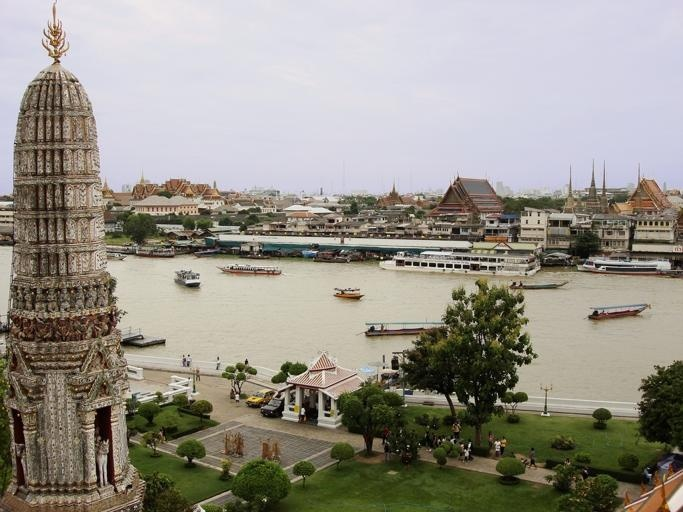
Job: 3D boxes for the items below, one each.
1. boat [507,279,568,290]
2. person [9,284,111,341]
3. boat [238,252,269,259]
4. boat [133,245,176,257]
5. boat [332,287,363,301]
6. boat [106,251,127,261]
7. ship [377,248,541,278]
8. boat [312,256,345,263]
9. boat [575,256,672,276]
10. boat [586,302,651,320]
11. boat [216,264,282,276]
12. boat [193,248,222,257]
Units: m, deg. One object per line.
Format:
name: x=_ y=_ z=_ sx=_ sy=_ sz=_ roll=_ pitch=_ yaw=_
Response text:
boat: x=10.973 y=1.667 z=47.779 sx=3.116 sy=0.445 sz=3.727 roll=2 pitch=0 yaw=12
person: x=-4.167 y=0.949 z=13.009 sx=1.523 sy=0.651 sz=0.397 roll=2 pitch=1 yaw=-14
boat: x=-6.799 y=0.091 z=67.872 sx=2.291 sy=0.357 sz=1.904 roll=2 pitch=0 yaw=-7
boat: x=-14.920 y=-0.239 z=68.801 sx=2.734 sy=0.592 sz=1.372 roll=3 pitch=8 yaw=14
boat: x=0.196 y=1.947 z=42.908 sx=1.787 sy=0.421 sz=0.525 roll=2 pitch=7 yaw=32
boat: x=-16.562 y=0.069 z=63.579 sx=2.157 sy=0.568 sz=0.579 roll=4 pitch=19 yaw=13
ship: x=8.028 y=0.573 z=56.509 sx=6.785 sy=0.828 sz=1.499 roll=5 pitch=8 yaw=30
boat: x=-0.777 y=0.362 z=63.830 sx=1.532 sy=0.263 sz=0.844 roll=1 pitch=4 yaw=22
boat: x=18.085 y=0.735 z=54.874 sx=5.894 sy=1.219 sz=1.096 roll=2 pitch=4 yaw=8
boat: x=11.812 y=2.425 z=36.975 sx=3.832 sy=0.697 sz=1.263 roll=2 pitch=0 yaw=-44
boat: x=-5.906 y=0.968 z=55.499 sx=4.510 sy=0.568 sz=1.449 roll=2 pitch=0 yaw=43
boat: x=-10.936 y=-0.098 z=70.716 sx=0.881 sy=0.310 sz=1.627 roll=7 pitch=10 yaw=44
